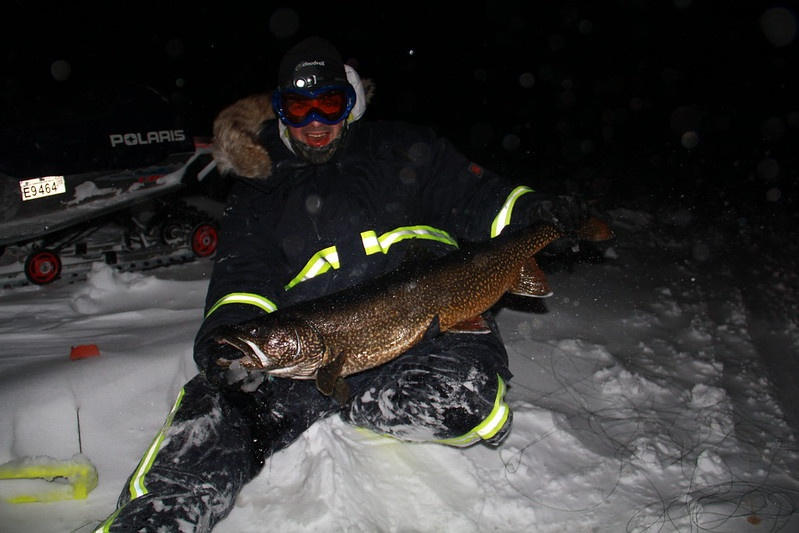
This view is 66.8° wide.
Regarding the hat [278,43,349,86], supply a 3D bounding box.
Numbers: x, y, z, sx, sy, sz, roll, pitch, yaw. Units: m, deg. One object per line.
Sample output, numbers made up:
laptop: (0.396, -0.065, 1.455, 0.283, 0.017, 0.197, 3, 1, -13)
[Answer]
hat: (-0.898, -2.013, 6.075, 0.634, 0.476, 0.438, 0, -3, -11)
